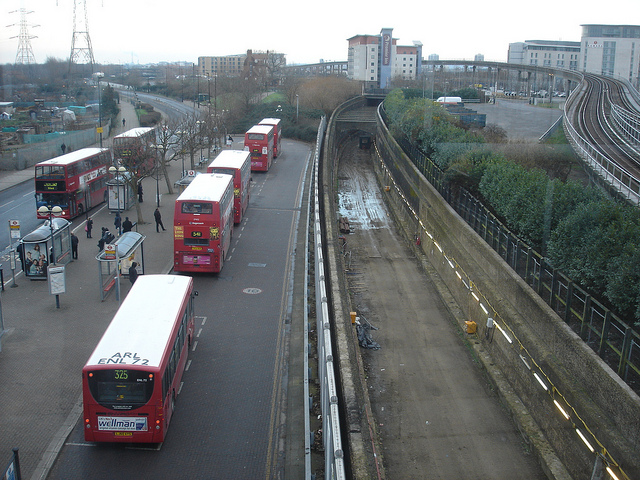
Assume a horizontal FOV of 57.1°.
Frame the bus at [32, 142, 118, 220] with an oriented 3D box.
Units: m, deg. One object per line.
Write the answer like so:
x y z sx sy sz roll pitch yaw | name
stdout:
-19.875 -4.918 48.643 2.439 4.723 9.918 0 14 0 | bus

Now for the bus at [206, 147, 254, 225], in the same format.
-7.644 -3.729 46.953 3.327 6.455 4.550 0 14 -2 | bus

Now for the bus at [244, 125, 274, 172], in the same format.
-6.604 -9.799 64.954 2.204 4.576 4.109 8 20 21 | bus

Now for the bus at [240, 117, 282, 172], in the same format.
-6.596 -13.904 77.166 2.928 5.850 32.217 0 21 0 | bus

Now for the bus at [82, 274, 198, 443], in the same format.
-7.163 4.432 24.189 2.909 3.751 6.855 0 20 -2 | bus
